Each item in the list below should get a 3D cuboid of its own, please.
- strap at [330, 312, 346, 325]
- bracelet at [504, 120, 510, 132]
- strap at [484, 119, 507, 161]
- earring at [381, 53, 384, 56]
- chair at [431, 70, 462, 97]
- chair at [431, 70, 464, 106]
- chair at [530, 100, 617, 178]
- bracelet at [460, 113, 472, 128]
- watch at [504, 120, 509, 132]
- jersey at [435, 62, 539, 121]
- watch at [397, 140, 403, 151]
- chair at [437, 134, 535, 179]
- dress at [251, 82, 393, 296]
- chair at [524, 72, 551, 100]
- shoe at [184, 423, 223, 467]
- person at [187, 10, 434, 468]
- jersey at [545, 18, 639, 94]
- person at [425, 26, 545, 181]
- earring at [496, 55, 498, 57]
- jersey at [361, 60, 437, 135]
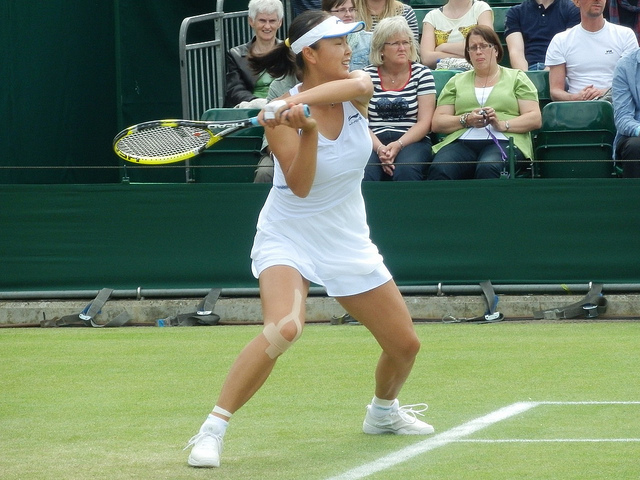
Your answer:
[{"bbox_3d":[0.149,0.707,9.774,0.074,0.068,0.106,2,6,13],"label":"strap"},{"bbox_3d":[1.691,-1.030,10.083,0.035,0.093,0.081,1,-7,0],"label":"bracelet"},{"bbox_3d":[1.535,-0.894,10.057,0.064,0.467,0.125,-14,-27,-20],"label":"strap"},{"bbox_3d":[0.570,-1.717,10.262,0.017,0.023,0.025,-6,8,-26],"label":"earring"},{"bbox_3d":[1.209,-1.549,10.863,0.262,0.176,0.263,-1,13,1],"label":"chair"},{"bbox_3d":[1.248,-1.481,10.871,0.309,0.250,0.309,-2,11,0],"label":"chair"},{"bbox_3d":[2.379,-0.914,10.471,0.752,0.734,0.747,1,3,7],"label":"chair"},{"bbox_3d":[1.309,-1.092,10.108,0.088,0.137,0.124,3,5,42],"label":"bracelet"},{"bbox_3d":[1.692,-1.029,10.085,0.036,0.097,0.084,4,2,-4],"label":"watch"},{"bbox_3d":[1.542,-1.368,10.356,0.939,0.492,0.283,-2,7,4],"label":"jersey"},{"bbox_3d":[0.732,-0.859,10.123,0.016,0.067,0.067,-18,-31,-6],"label":"watch"},{"bbox_3d":[1.502,-0.758,10.093,0.878,0.409,0.650,-1,7,6],"label":"chair"},{"bbox_3d":[0.028,-0.263,6.713,0.706,1.289,0.736,-2,22,-26],"label":"dress"},{"bbox_3d":[2.206,-1.535,11.092,0.313,0.299,0.259,0,4,-5],"label":"chair"},{"bbox_3d":[-0.675,1.194,6.462,0.228,0.196,0.453,6,7,-3],"label":"shoe"},{"bbox_3d":[-0.038,-0.079,6.752,1.334,2.616,0.774,-4,7,-9],"label":"person"},{"bbox_3d":[2.654,-1.764,10.823,0.869,0.679,0.307,-5,2,3],"label":"jersey"},{"bbox_3d":[1.476,-1.258,10.111,1.042,1.376,0.871,-1,7,10],"label":"person"},{"bbox_3d":[1.641,-1.713,10.327,0.011,0.017,0.021,1,8,27],"label":"earring"},{"bbox_3d":[0.712,-1.288,10.461,0.800,0.771,0.435,3,17,22],"label":"jersey"}]
